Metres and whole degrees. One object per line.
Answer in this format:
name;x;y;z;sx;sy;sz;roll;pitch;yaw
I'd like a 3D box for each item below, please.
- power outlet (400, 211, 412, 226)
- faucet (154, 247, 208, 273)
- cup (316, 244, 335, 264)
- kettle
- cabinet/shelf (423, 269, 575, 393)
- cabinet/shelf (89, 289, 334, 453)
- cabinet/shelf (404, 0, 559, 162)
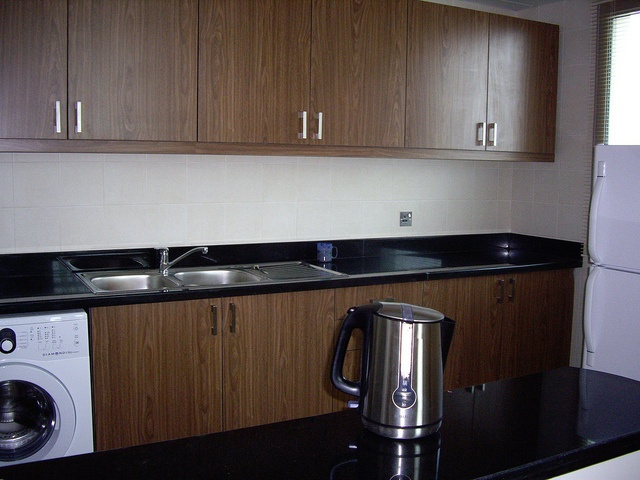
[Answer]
power outlet;0.612;-0.162;3.773;0.096;0.098;0.033;0;4;-25
faucet;-0.789;0.105;3.025;0.280;0.162;0.306;-1;10;-15
cup;0.057;0.085;3.473;0.138;0.126;0.089;-2;4;-27
kettle;0.190;0.341;1.404;0.315;0.340;0.213;2;5;2
cabinet/shelf;0.985;0.483;2.946;0.713;0.649;0.256;-3;4;-24
cabinet/shelf;-0.571;0.599;2.459;0.706;0.640;0.252;-2;6;-23
cabinet/shelf;1.045;-1.038;3.451;1.088;0.846;0.421;-1;5;-21
